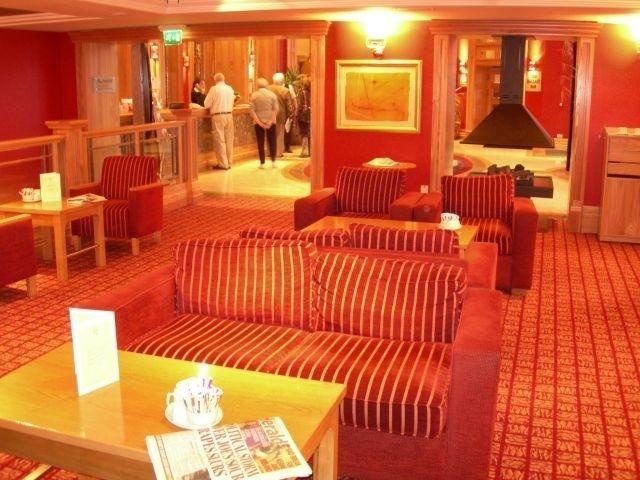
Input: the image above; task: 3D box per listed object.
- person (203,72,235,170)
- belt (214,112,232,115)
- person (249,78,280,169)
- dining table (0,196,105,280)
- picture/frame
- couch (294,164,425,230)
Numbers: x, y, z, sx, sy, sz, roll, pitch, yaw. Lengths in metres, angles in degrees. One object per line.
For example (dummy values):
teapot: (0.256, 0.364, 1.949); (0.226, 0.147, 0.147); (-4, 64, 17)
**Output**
person: (-2.342, -2.635, 11.956); (0.600, 2.140, 0.804); (5, 15, 17)
belt: (-2.238, -2.854, 11.825); (0.398, 0.074, 0.097); (-3, 15, -15)
person: (-1.327, -2.737, 12.381); (0.637, 2.036, 1.438); (-1, 15, -5)
dining table: (-2.921, -0.147, 6.108); (0.986, 0.955, 1.004); (5, 13, 19)
picture/frame: (1.026, -2.369, 8.502); (1.231, 0.976, 0.098); (2, 14, 10)
couch: (0.436, -0.494, 6.241); (1.201, 0.840, 0.870); (4, 13, 20)
